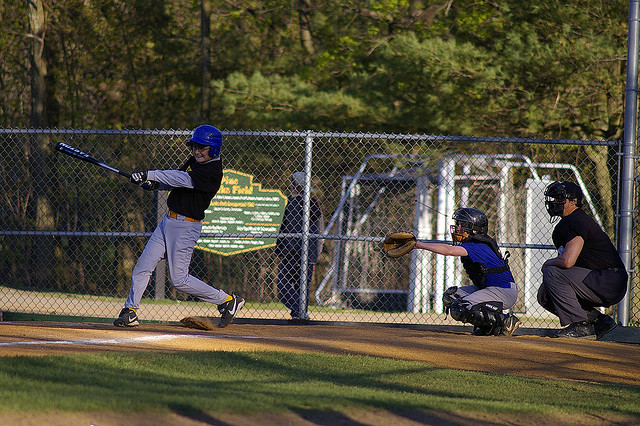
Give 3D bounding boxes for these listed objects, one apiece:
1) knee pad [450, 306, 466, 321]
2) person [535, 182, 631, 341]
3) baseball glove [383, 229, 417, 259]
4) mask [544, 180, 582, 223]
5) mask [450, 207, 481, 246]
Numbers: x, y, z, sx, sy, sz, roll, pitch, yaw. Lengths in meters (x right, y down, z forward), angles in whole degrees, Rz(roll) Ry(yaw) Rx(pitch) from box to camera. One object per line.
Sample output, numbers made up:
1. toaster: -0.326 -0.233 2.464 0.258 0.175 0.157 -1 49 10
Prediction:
1. knee pad: 2.223 1.633 17.946 0.154 0.216 0.334 5 -4 -32
2. person: 4.215 0.794 17.797 1.281 2.530 0.709 2 -4 10
3. baseball glove: 1.264 0.559 17.654 0.613 0.153 0.466 -27 51 -27
4. mask: 3.981 -0.211 17.954 0.712 0.561 0.533 -4 -2 6
5. mask: 2.325 0.239 17.969 0.278 0.581 0.504 6 -5 -43
